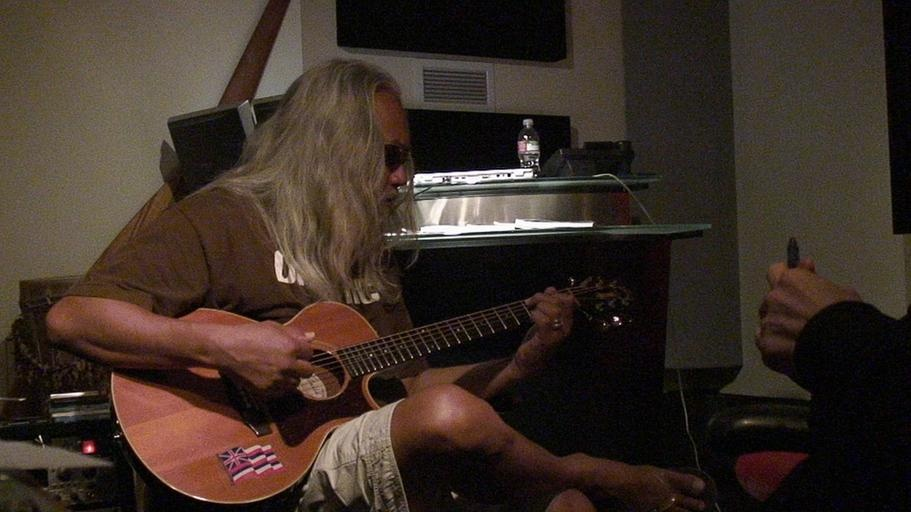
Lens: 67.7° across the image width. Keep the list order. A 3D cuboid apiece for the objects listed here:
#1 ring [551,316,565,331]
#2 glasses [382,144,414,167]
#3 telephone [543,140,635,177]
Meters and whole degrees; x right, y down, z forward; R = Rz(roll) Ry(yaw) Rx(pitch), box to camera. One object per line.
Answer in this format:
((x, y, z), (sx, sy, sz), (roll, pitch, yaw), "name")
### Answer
((0.420, 0.281, 2.818), (0.058, 0.055, 0.014), (0, -7, -6), "ring")
((-0.259, -0.447, 2.907), (0.095, 0.094, 0.030), (8, -43, -26), "glasses")
((0.790, -0.559, 3.773), (0.400, 0.141, 0.398), (1, 0, -12), "telephone")
